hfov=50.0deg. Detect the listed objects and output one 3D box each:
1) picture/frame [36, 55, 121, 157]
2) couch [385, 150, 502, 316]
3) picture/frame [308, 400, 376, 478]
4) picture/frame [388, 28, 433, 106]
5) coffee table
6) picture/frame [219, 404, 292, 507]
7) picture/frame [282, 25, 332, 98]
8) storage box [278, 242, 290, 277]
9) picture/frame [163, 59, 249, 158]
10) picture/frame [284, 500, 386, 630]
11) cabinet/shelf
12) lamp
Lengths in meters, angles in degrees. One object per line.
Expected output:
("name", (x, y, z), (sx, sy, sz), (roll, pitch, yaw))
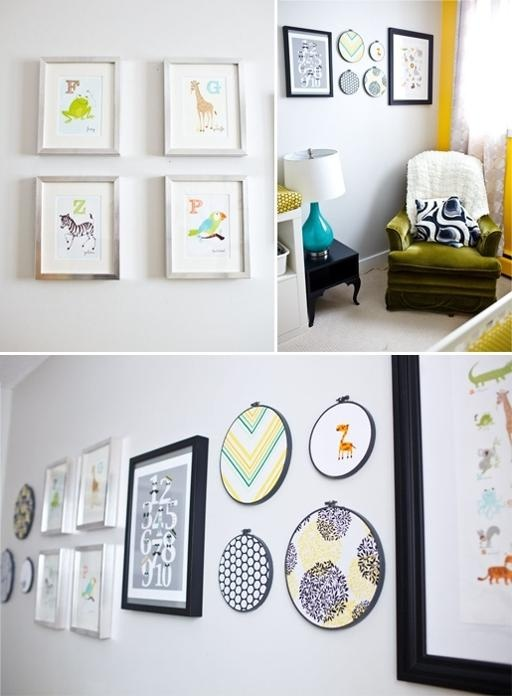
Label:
("picture/frame", (-0.532, -0.747, 1.670), (0.204, 0.351, 0.023), (0, -1, 2))
("couch", (0.929, -0.718, 2.881), (0.574, 0.177, 0.674), (13, 32, -25))
("picture/frame", (0.211, 0.225, 1.321), (0.019, 0.185, 0.123), (23, -29, -35))
("picture/frame", (0.799, -1.492, 2.873), (0.249, 0.366, 0.015), (-21, 34, -26))
("coffee table", (0.334, -0.339, 2.555), (0.255, 0.336, 0.388), (-17, 32, -19))
("picture/frame", (0.005, 0.292, 1.448), (0.173, 0.269, 0.027), (-15, -27, 41))
("picture/frame", (0.231, -1.377, 2.607), (0.226, 0.290, 0.015), (-15, 17, -36))
("storage box", (0.111, -0.366, 2.244), (0.049, 0.148, 0.144), (-2, 4, 5))
("picture/frame", (-0.146, -0.730, 1.643), (0.192, 0.321, 0.021), (-1, -1, -1))
("picture/frame", (0.186, 0.503, 1.248), (0.199, 0.293, 0.031), (-21, -33, 40))
("cabinet/shelf", (0.143, -0.293, 2.234), (0.122, 0.530, 0.208), (-2, 3, 5))
("lamp", (0.267, -0.641, 2.427), (0.185, 0.451, 0.227), (-9, 18, 0))
